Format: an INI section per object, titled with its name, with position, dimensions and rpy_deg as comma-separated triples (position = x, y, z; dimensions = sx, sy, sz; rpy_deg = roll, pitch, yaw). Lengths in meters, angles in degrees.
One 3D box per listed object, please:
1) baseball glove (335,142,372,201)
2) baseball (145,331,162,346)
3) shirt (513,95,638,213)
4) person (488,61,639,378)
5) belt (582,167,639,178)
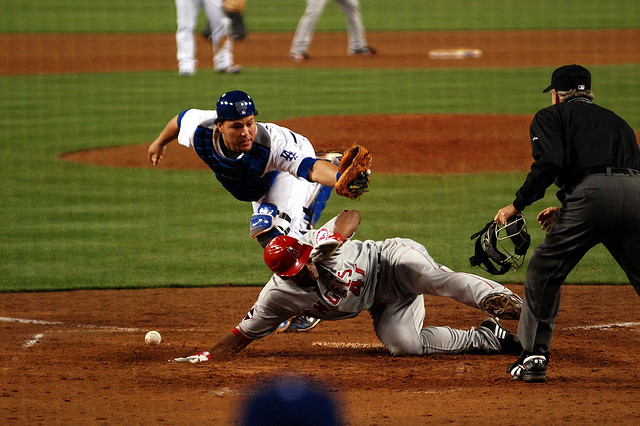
[baseball glove]
position = 0.395, -0.506, 13.941
dimensions = 0.448, 0.680, 0.234
rpy_deg = -1, 14, 2
[baseball]
position = -2.190, 1.651, 15.147
dimensions = 0.223, 0.179, 0.192
rpy_deg = -4, 14, -12
[shirt]
position = 3.112, -0.692, 14.101
dimensions = 1.490, 1.289, 0.519
rpy_deg = 0, 14, 5
[person]
position = 3.087, 0.129, 14.188
dimensions = 1.605, 3.659, 0.993
rpy_deg = -4, 15, -9
[belt]
position = 3.518, -0.498, 13.992
dimensions = 0.685, 0.124, 0.076
rpy_deg = -1, 14, -1
